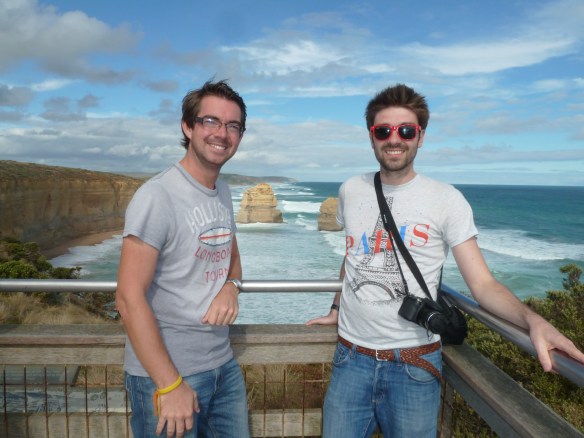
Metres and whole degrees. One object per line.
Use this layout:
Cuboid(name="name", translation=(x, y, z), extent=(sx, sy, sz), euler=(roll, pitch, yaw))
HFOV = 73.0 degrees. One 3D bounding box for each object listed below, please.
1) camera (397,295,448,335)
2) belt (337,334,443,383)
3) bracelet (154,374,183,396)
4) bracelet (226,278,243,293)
Cuboid(name="camera", translation=(0.844, 0.639, 2.742), extent=(0.278, 0.205, 0.364), euler=(23, -16, 29))
Cuboid(name="belt", translation=(0.696, 1.004, 2.861), extent=(0.705, 0.251, 0.183), euler=(1, 8, 11))
Cuboid(name="bracelet", translation=(-0.702, 0.943, 2.251), extent=(0.136, 0.032, 0.117), euler=(-15, -5, 1))
Cuboid(name="bracelet", translation=(-0.396, 0.456, 2.774), extent=(0.120, 0.069, 0.111), euler=(-6, -30, 13))
